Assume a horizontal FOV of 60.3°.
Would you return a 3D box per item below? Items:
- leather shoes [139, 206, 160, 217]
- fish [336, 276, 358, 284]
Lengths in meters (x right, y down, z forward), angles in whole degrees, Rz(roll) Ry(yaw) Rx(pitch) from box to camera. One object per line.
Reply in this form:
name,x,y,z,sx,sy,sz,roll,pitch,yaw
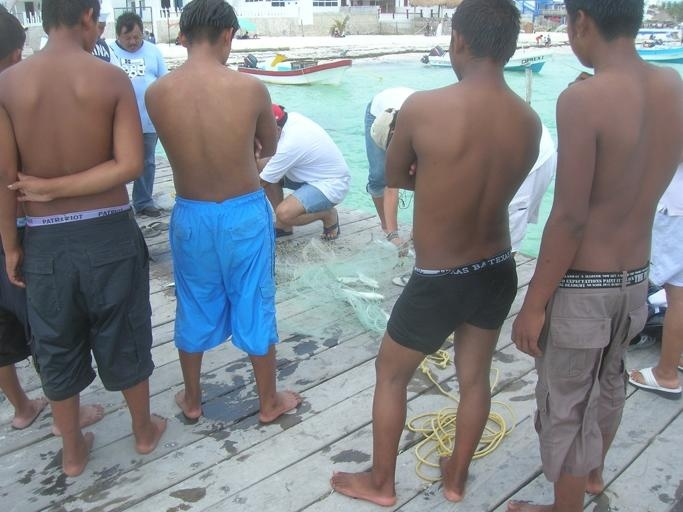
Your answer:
leather shoes,-1.879,-0.442,5.787,0.247,0.103,0.094,0,13,10
fish,0.042,0.170,4.416,0.099,0.024,0.062,-2,11,-19
